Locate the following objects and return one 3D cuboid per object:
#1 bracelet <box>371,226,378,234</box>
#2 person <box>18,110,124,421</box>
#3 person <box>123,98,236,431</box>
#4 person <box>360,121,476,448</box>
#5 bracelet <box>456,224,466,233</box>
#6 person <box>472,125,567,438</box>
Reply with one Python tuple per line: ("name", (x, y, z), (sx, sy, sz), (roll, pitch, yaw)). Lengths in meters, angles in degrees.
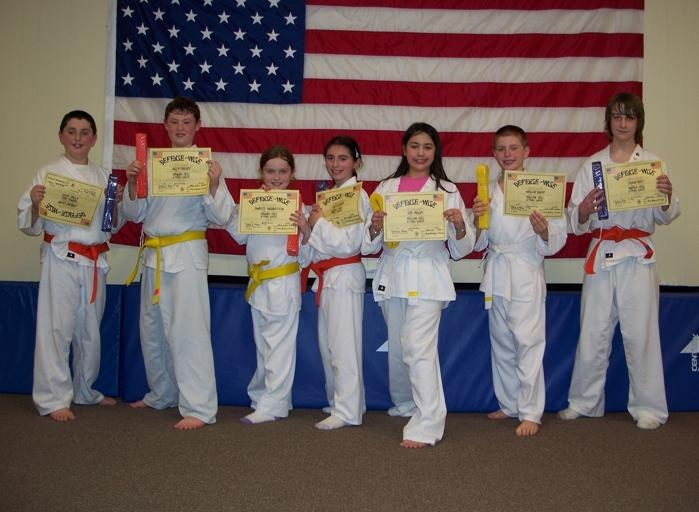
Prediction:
("bracelet", (0.171, -0.184, 5.201), (0.045, 0.054, 0.012), (-1, 5, 20))
("person", (-2.148, 0.051, 5.489), (0.660, 2.288, 0.469), (-3, 5, -28))
("person", (-1.314, 0.254, 5.416), (0.788, 1.925, 0.488), (2, 5, 20))
("person", (0.450, 0.171, 5.207), (0.684, 2.232, 0.690), (3, 6, 36))
("bracelet", (0.777, -0.191, 5.119), (0.061, 0.065, 0.090), (2, 7, 23))
("person", (1.232, 0.158, 5.324), (0.657, 2.213, 0.548), (1, 5, 18))
